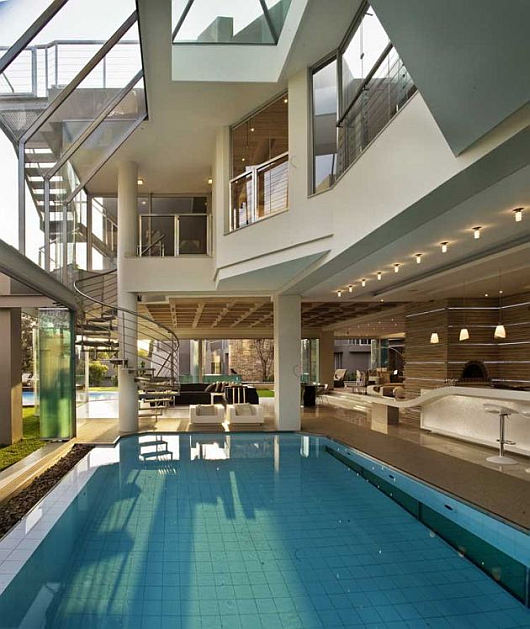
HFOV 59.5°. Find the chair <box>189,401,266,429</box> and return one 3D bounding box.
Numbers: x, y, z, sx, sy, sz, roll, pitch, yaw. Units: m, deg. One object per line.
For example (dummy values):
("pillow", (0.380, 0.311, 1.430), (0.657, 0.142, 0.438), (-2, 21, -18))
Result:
("chair", (-1.103, 2.824, 12.927), (1.999, 0.600, 1.091), (0, -5, -10))
